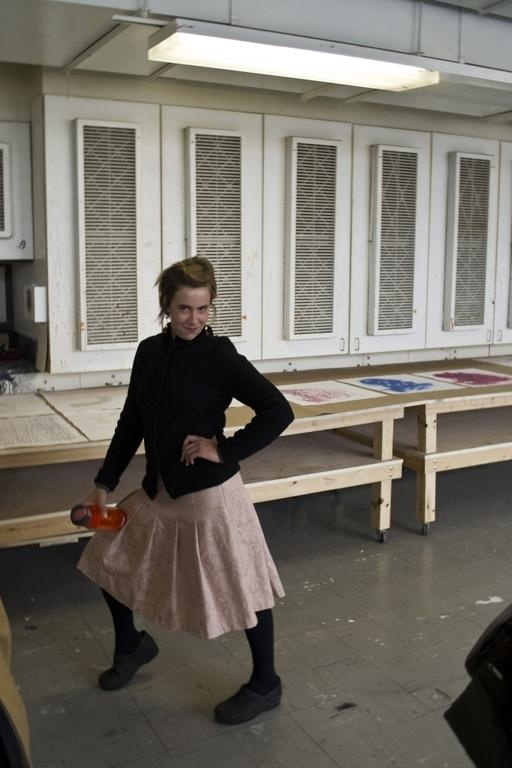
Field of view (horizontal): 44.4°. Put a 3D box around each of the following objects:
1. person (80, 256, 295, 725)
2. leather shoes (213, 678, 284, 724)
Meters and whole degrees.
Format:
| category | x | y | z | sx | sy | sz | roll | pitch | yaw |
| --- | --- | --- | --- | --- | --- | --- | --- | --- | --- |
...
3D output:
| category | x | y | z | sx | sy | sz | roll | pitch | yaw |
| --- | --- | --- | --- | --- | --- | --- | --- | --- | --- |
| person | -0.220 | 0.167 | 1.867 | 0.600 | 1.064 | 0.258 | 4 | 8 | 30 |
| leather shoes | -0.030 | 1.022 | 2.040 | 0.226 | 0.090 | 0.093 | -9 | 9 | -31 |
